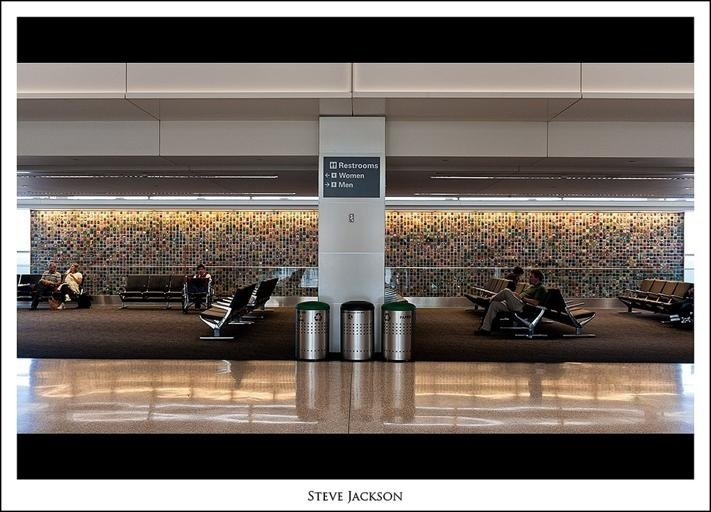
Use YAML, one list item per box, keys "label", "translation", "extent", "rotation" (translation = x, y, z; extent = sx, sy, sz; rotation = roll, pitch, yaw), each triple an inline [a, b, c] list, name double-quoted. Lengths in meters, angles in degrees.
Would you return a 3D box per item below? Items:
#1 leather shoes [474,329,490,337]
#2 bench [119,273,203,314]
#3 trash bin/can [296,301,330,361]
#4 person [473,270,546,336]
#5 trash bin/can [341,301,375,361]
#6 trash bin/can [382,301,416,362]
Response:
- label: "leather shoes"
  translation: [2.372, 1.459, 12.147]
  extent: [0.339, 0.123, 0.109]
  rotation: [1, -4, 28]
- label: "bench"
  translation: [-5.119, 0.973, 17.418]
  extent: [2.339, 0.642, 0.638]
  rotation: [1, 11, 0]
- label: "trash bin/can"
  translation: [-0.620, 1.097, 9.372]
  extent: [0.478, 0.834, 0.304]
  rotation: [-2, 9, -8]
- label: "person"
  translation: [2.991, 0.877, 12.111]
  extent: [1.317, 1.196, 0.630]
  rotation: [-3, 9, -20]
- label: "trash bin/can"
  translation: [0.033, 1.102, 9.337]
  extent: [0.484, 0.823, 0.388]
  rotation: [0, 9, 0]
- label: "trash bin/can"
  translation: [0.617, 1.104, 9.317]
  extent: [0.480, 0.803, 0.382]
  rotation: [0, 9, 3]
